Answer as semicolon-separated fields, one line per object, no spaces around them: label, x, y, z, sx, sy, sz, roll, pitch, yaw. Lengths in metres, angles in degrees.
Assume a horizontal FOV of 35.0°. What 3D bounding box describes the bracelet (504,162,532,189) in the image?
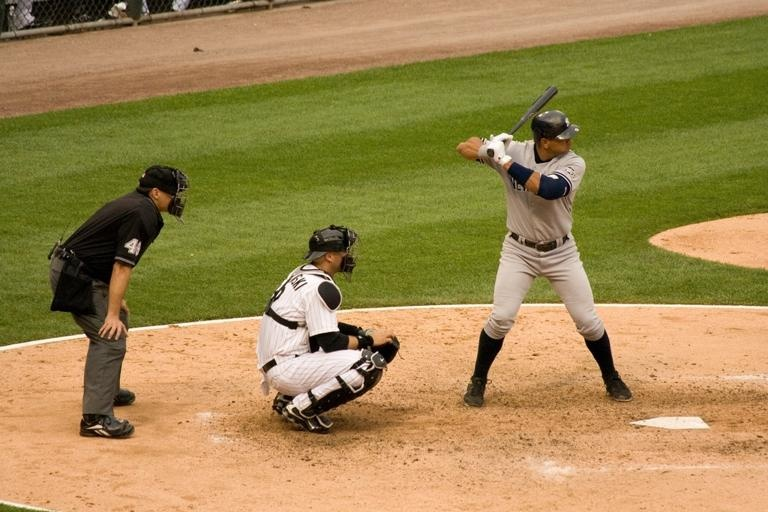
bracelet;1.478;-0.879;13.450;0.308;0.246;0.100;21;26;21

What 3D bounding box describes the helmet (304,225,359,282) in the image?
helmet;-0.552;-0.103;13.696;0.686;0.480;0.467;-1;12;-15

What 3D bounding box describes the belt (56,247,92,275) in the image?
belt;-3.401;0.050;13.259;0.370;0.127;0.255;30;6;-4

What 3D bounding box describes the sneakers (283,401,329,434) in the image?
sneakers;-0.824;1.823;13.532;0.656;0.260;0.227;22;32;-20

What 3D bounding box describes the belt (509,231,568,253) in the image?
belt;1.750;-0.150;13.833;0.682;0.204;0.180;-1;16;4

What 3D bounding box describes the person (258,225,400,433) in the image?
person;-0.718;0.841;13.444;1.422;2.213;0.677;-4;18;-6

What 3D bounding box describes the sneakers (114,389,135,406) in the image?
sneakers;-2.970;1.627;13.823;0.285;0.162;0.134;-15;30;-18

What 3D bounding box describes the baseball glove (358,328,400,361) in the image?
baseball glove;-0.064;1.053;13.751;0.498;0.236;0.322;16;15;-7

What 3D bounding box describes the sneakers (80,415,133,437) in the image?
sneakers;-3.032;1.869;13.217;0.595;0.238;0.220;1;9;0
